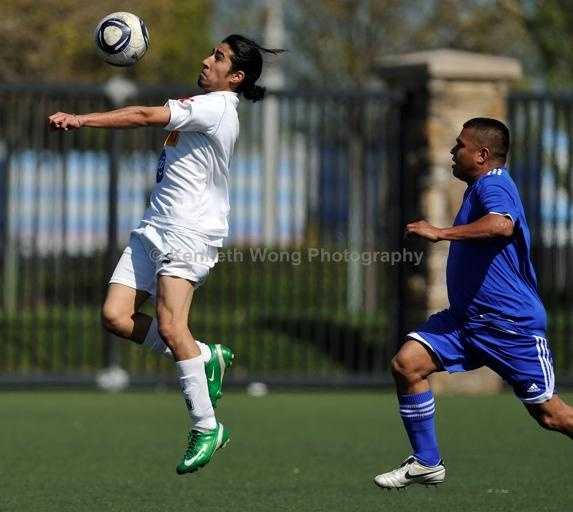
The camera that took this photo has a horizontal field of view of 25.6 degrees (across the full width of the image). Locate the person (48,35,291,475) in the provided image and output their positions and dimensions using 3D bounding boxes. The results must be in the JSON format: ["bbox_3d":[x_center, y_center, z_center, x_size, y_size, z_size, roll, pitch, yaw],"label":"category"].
[{"bbox_3d":[-0.680,-0.025,8.331,1.168,2.888,0.803,-1,4,-7],"label":"person"}]

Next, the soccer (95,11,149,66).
[{"bbox_3d":[-1.099,-1.437,8.471,0.383,0.378,0.373,2,4,16],"label":"soccer"}]

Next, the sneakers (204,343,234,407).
[{"bbox_3d":[-0.497,0.803,8.532,0.205,0.414,0.148,7,-3,-40],"label":"sneakers"}]

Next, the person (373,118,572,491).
[{"bbox_3d":[1.210,0.316,8.021,1.171,2.389,0.551,0,4,3],"label":"person"}]
